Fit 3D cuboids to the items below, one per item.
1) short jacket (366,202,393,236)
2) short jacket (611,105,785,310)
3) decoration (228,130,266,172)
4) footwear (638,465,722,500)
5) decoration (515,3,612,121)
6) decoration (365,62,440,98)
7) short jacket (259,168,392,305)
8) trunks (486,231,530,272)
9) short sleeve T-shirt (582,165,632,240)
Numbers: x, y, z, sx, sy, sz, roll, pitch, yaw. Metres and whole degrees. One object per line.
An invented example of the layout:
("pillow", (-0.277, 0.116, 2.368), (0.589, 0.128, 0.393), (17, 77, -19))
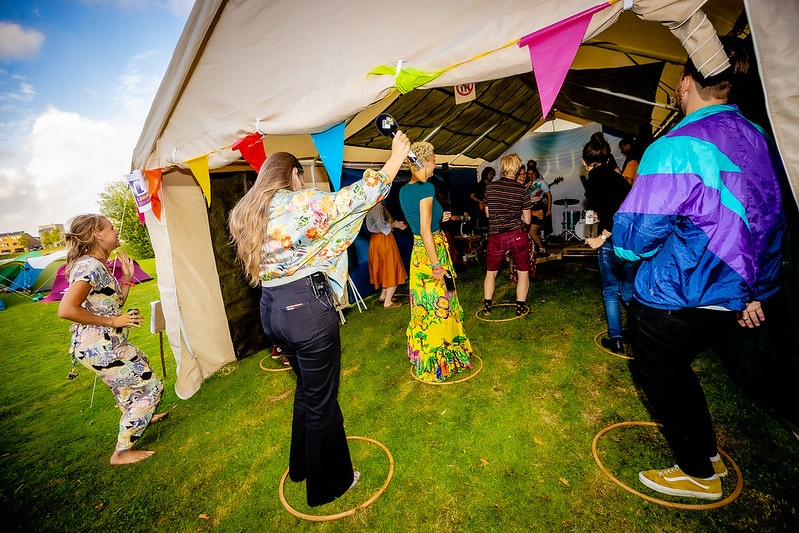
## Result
("short jacket", (-0.375, -0.829, 7.251), (0.418, 0.582, 0.738), (-9, 18, -13))
("short jacket", (2.371, -0.452, 3.254), (1.419, 1.377, 0.941), (-11, 18, -6))
("decoration", (-1.445, -1.192, 4.134), (0.399, 0.109, 0.373), (-7, -31, -8))
("footwear", (2.271, 1.746, 3.493), (0.598, 0.262, 0.244), (5, -3, 20))
("decoration", (1.195, -1.458, 3.068), (0.588, 0.693, 0.268), (-10, 10, -5))
("decoration", (0.044, -1.515, 3.347), (0.629, 0.232, 0.092), (-5, 11, 20))
("short jacket", (-0.628, -0.291, 3.322), (1.085, 0.762, 0.220), (-12, 11, -12))
("trunks", (1.417, -0.237, 5.685), (0.667, 0.635, 0.383), (-6, 15, 6))
("short sleeve T-shirt", (2.231, -0.758, 4.573), (0.306, 0.841, 0.645), (13, 23, 37))
